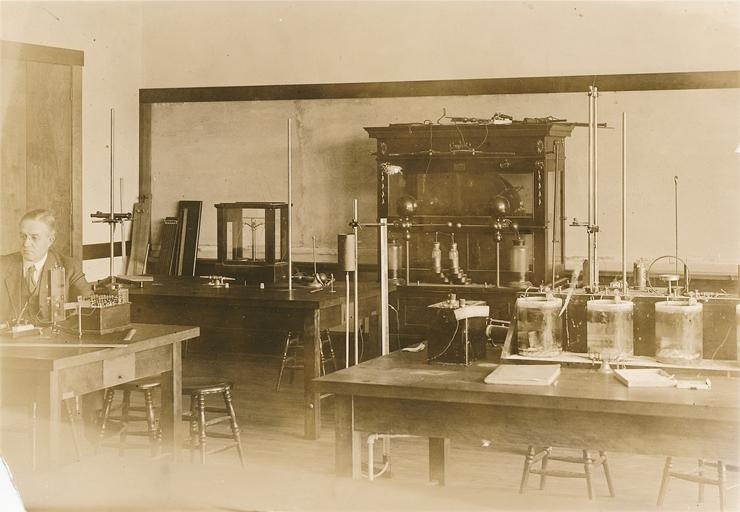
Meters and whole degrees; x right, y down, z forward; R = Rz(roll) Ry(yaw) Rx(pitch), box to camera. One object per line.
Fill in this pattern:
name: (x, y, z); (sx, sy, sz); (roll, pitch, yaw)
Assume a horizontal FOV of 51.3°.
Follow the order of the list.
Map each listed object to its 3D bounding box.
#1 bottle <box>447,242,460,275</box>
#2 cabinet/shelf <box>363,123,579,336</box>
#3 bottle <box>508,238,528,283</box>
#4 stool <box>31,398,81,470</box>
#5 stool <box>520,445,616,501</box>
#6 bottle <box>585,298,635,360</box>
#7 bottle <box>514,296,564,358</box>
bottle: (0.791, 0.028, 7.304); (0.111, 0.319, 0.191); (1, -3, 3)
cabinet/shelf: (0.882, -0.250, 6.745); (2.067, 2.358, 1.073); (0, 0, 22)
bottle: (1.368, 0.064, 7.026); (0.176, 0.418, 0.121); (2, -3, -15)
stool: (-1.841, 1.046, 4.575); (0.246, 0.461, 1.196); (2, -3, -19)
stool: (1.194, 1.323, 4.731); (0.470, 0.409, 0.389); (0, -2, 33)
bottle: (1.248, 0.386, 4.032); (0.298, 0.323, 0.294); (0, -1, 0)
bottle: (0.903, 0.381, 4.132); (0.305, 0.323, 0.300); (0, -1, -1)
